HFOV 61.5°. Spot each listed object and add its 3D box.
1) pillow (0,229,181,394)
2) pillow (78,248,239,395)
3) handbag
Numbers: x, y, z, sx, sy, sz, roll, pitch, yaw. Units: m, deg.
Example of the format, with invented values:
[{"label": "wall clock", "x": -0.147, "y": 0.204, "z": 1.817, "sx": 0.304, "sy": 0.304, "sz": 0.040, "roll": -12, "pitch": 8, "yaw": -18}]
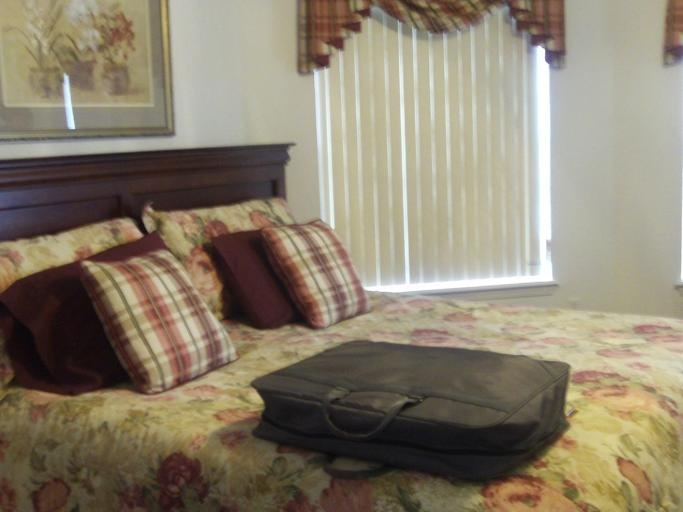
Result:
[{"label": "pillow", "x": -0.863, "y": 0.208, "z": 1.820, "sx": 0.456, "sy": 0.423, "sz": 0.133, "roll": -22, "pitch": 2, "yaw": -37}, {"label": "pillow", "x": -0.658, "y": 0.226, "z": 2.054, "sx": 0.156, "sy": 0.458, "sz": 0.532, "roll": -33, "pitch": -7, "yaw": 21}, {"label": "handbag", "x": 0.183, "y": 0.294, "z": 1.429, "sx": 0.485, "sy": 0.137, "sz": 0.403, "roll": 3, "pitch": 8, "yaw": 32}]
